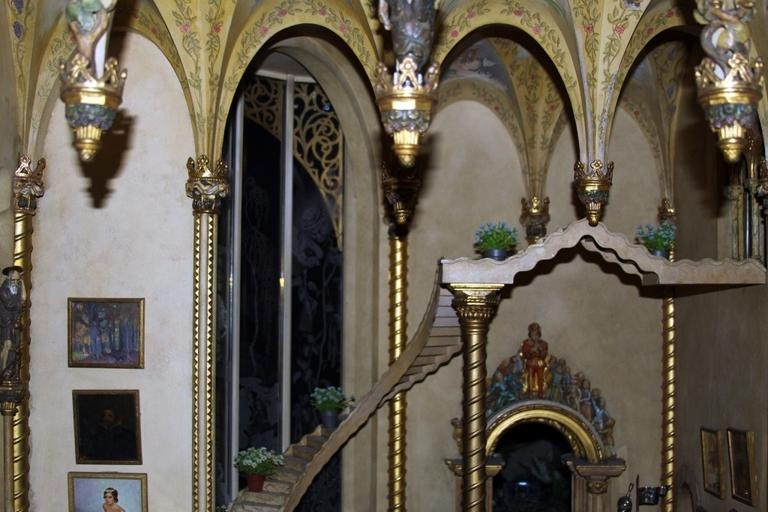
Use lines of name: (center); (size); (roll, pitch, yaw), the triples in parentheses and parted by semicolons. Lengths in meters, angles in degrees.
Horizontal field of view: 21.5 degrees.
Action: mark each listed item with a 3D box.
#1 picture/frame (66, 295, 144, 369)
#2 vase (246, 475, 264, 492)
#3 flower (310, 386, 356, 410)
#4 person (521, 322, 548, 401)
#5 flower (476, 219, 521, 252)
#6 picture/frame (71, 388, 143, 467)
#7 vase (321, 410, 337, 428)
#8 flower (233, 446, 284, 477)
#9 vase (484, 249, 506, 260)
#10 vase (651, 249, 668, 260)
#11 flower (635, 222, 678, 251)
picture/frame: (-4.436, 1.193, 31.785); (1.100, 1.001, 0.076); (0, -4, -5)
vase: (-2.091, 3.658, 32.773); (0.255, 0.197, 0.260); (2, -2, -13)
flower: (-0.936, 2.359, 33.709); (0.477, 0.217, 0.486); (2, 2, 13)
person: (2.554, 1.749, 34.490); (0.473, 1.255, 0.283); (0, -14, 4)
flower: (1.722, -0.352, 31.901); (0.501, 0.356, 0.504); (2, -2, -28)
picture/frame: (-4.405, 2.666, 31.792); (1.189, 1.412, 0.142); (0, 1, -1)
vase: (-0.920, 2.692, 33.677); (0.256, 0.234, 0.271); (0, -5, 24)
flower: (-2.053, 3.308, 32.893); (0.544, 0.302, 0.531); (2, -1, 3)
vase: (1.744, -0.043, 31.819); (0.333, 0.232, 0.378); (1, -14, 0)
vase: (4.452, -0.083, 32.774); (0.194, 0.151, 0.199); (2, -2, 18)
flower: (4.448, -0.348, 32.985); (0.547, 0.401, 0.544); (-2, 8, -19)
